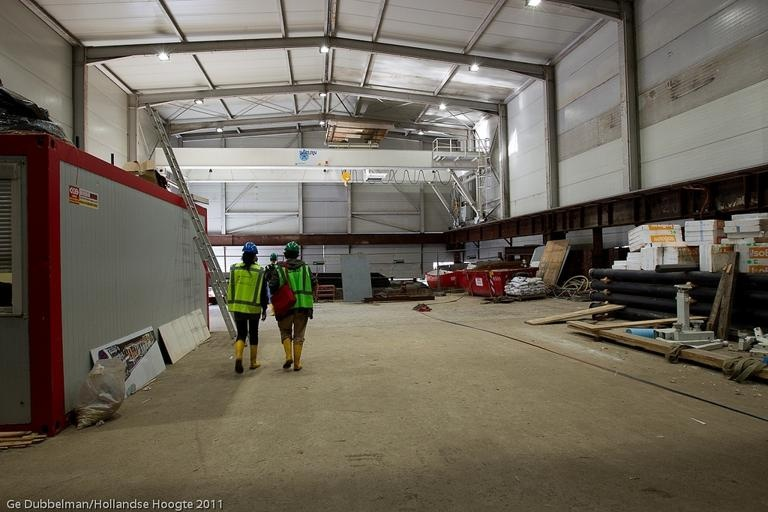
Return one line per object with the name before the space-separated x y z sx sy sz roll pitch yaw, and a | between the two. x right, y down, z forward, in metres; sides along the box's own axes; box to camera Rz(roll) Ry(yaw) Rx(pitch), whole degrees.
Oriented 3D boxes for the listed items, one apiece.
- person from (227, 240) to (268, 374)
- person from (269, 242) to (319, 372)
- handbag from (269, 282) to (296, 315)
person | -2.530 1.032 8.937 0.716 2.358 1.047 -6 14 -13
person | -1.712 0.998 8.865 0.769 2.376 0.846 -4 14 -7
handbag | -1.854 0.814 8.655 0.462 0.622 0.194 0 14 6
